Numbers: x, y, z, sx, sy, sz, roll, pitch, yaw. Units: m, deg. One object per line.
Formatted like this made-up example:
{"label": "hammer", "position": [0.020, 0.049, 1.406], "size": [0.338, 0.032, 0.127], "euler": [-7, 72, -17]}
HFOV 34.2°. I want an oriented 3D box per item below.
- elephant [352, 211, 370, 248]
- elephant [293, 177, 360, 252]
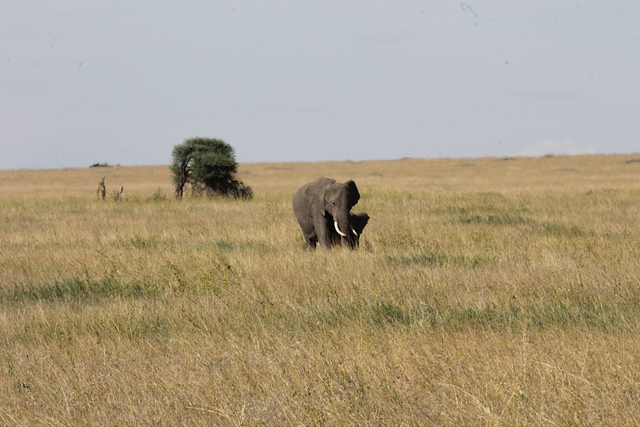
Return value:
{"label": "elephant", "position": [1.261, 0.403, 32.550], "size": [0.603, 0.576, 0.875], "euler": [-2, -7, -1]}
{"label": "elephant", "position": [0.214, 0.186, 32.627], "size": [1.940, 2.461, 3.554], "euler": [-2, -2, -24]}
